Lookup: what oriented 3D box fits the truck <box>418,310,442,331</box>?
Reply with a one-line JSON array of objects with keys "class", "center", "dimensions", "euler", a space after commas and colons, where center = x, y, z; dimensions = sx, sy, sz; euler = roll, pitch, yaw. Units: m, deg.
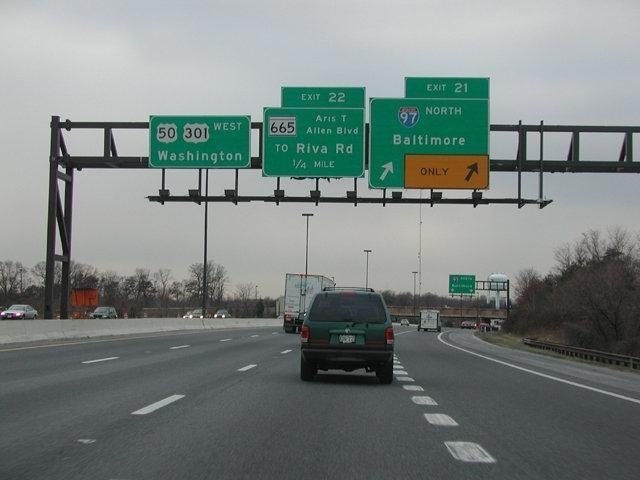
[{"class": "truck", "center": [14.069, 10.103, 87.982], "dimensions": [1.713, 2.190, 3.176], "euler": [0, 0, 8]}]

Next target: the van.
[{"class": "van", "center": [0.711, 2.121, 17.814], "dimensions": [1.513, 1.822, 3.106], "euler": [0, 1, 1]}]

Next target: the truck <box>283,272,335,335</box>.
[{"class": "truck", "center": [-1.662, 4.333, 50.334], "dimensions": [2.649, 4.145, 5.982], "euler": [1, -3, 6]}]
